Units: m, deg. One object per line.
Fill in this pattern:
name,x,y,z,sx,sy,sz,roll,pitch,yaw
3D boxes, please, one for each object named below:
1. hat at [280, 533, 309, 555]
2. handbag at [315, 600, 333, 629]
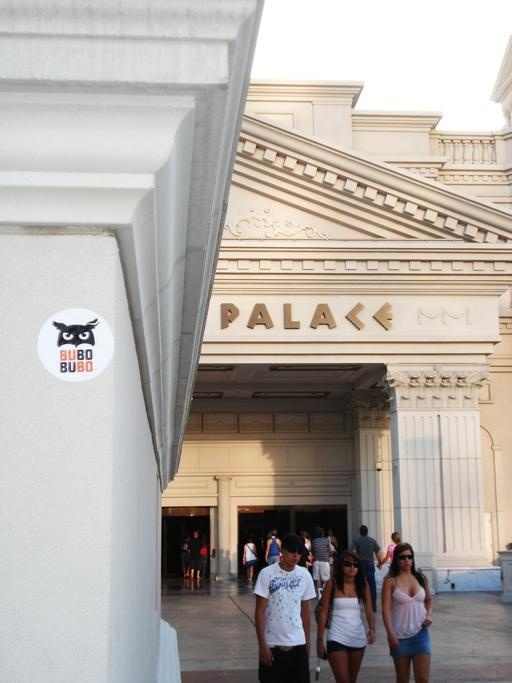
hat,0.299,1.563,5.754,0.164,0.179,0.218,12,-24,3
handbag,0.603,2.384,6.515,0.177,0.333,0.225,3,-9,6
